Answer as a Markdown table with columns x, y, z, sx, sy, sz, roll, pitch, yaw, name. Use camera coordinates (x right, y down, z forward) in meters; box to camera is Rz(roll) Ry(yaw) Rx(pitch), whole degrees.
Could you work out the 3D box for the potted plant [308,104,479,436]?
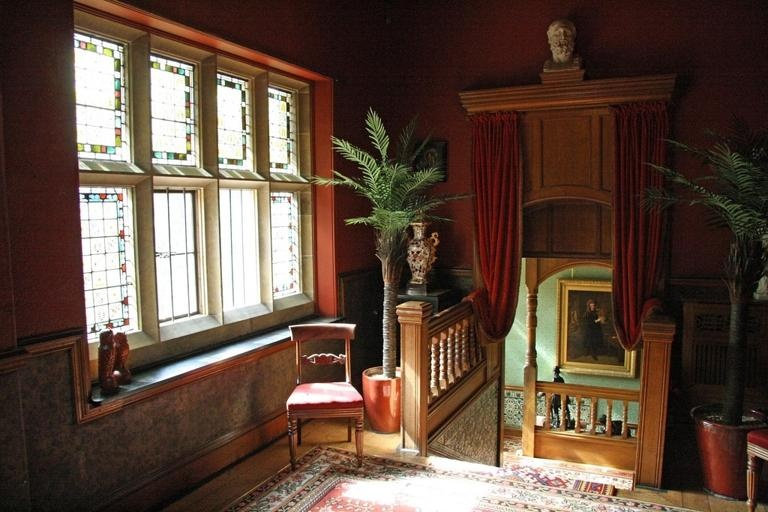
| x | y | z | sx | sy | sz | roll | pitch | yaw | name |
| --- | --- | --- | --- | --- | --- | --- | --- | --- | --- |
| 0.062 | 0.183 | 6.191 | 1.710 | 2.827 | 1.361 | -9 | 16 | -28 | potted plant |
